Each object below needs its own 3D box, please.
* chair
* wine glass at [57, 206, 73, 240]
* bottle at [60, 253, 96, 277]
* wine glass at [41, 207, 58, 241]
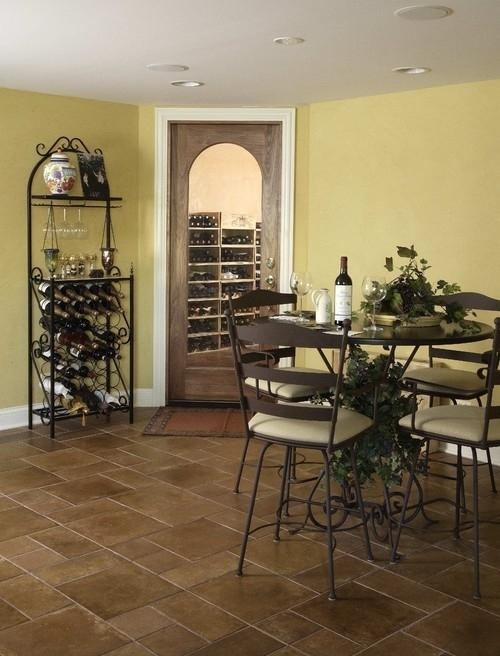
[{"bbox_3d":[0.495,0.519,2.455,1.122,1.158,0.988,6,9,41],"label":"chair"},{"bbox_3d":[-1.352,-0.763,4.227,0.106,0.235,0.239,0,3,-18],"label":"wine glass"},{"bbox_3d":[-1.262,-0.448,4.272,0.308,0.176,0.167,-1,3,-32],"label":"bottle"},{"bbox_3d":[-1.451,-0.753,4.201,0.073,0.240,0.123,4,4,39],"label":"wine glass"}]
